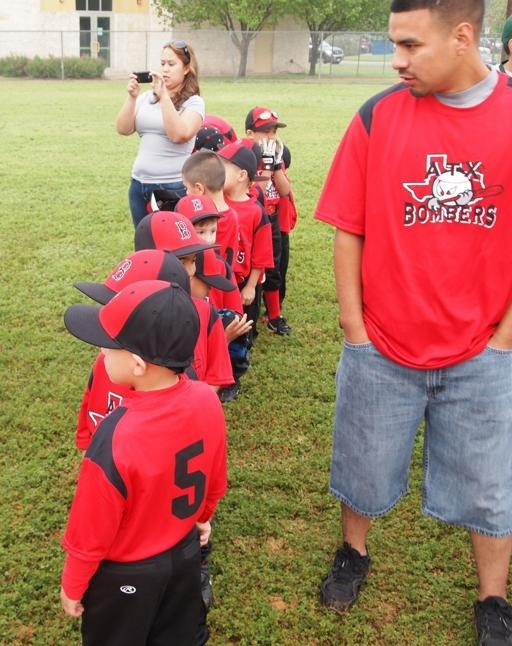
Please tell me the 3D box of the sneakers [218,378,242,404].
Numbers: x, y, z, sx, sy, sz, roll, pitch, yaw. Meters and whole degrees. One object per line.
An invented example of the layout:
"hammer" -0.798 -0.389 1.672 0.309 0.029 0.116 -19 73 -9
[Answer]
"sneakers" -0.132 0.393 3.424 0.099 0.092 0.236 4 6 13

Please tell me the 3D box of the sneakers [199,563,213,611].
"sneakers" -0.171 0.918 2.067 0.056 0.098 0.133 8 57 -1

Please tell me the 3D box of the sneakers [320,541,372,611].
"sneakers" 0.333 0.867 2.149 0.116 0.124 0.286 23 40 15

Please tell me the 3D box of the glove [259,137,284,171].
"glove" 0.103 -1.207 4.267 0.220 0.242 0.086 4 -14 -24

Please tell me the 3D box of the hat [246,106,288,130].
"hat" 0.024 -1.457 4.329 0.254 0.124 0.197 25 43 34

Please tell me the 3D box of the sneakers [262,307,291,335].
"sneakers" 0.150 0.011 4.325 0.225 0.096 0.092 33 45 24

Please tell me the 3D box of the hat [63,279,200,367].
"hat" -0.325 -0.001 1.409 0.345 0.202 0.160 11 21 29

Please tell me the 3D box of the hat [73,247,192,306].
"hat" -0.324 -0.106 1.640 0.286 0.128 0.171 14 17 -7

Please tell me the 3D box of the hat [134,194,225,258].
"hat" -0.279 -0.333 2.070 0.274 0.135 0.172 11 31 29
